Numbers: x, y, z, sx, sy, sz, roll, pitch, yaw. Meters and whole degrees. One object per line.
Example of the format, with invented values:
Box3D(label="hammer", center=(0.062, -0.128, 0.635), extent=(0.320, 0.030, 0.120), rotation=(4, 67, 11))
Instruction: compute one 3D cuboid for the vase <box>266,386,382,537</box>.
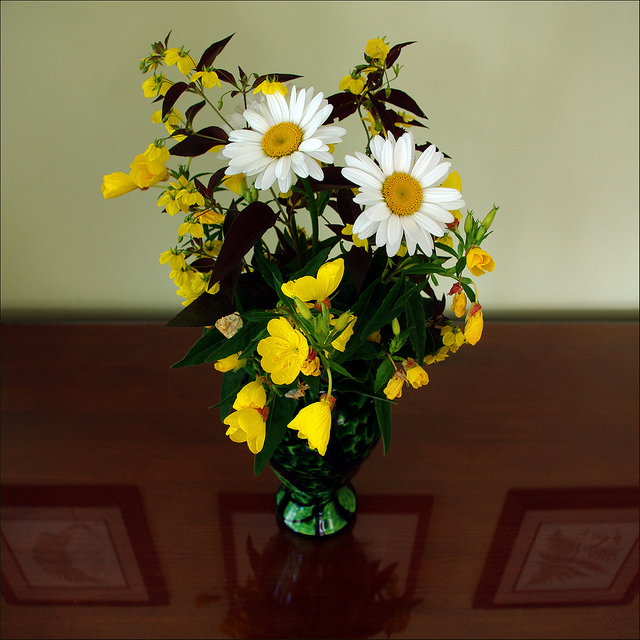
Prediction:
Box3D(label="vase", center=(0.001, 0.175, 0.867), extent=(0.147, 0.215, 0.158), rotation=(-2, 39, -1))

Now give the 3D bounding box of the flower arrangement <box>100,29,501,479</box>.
Box3D(label="flower arrangement", center=(-0.027, -0.098, 0.968), extent=(0.429, 0.562, 0.410), rotation=(-32, 54, -24))
